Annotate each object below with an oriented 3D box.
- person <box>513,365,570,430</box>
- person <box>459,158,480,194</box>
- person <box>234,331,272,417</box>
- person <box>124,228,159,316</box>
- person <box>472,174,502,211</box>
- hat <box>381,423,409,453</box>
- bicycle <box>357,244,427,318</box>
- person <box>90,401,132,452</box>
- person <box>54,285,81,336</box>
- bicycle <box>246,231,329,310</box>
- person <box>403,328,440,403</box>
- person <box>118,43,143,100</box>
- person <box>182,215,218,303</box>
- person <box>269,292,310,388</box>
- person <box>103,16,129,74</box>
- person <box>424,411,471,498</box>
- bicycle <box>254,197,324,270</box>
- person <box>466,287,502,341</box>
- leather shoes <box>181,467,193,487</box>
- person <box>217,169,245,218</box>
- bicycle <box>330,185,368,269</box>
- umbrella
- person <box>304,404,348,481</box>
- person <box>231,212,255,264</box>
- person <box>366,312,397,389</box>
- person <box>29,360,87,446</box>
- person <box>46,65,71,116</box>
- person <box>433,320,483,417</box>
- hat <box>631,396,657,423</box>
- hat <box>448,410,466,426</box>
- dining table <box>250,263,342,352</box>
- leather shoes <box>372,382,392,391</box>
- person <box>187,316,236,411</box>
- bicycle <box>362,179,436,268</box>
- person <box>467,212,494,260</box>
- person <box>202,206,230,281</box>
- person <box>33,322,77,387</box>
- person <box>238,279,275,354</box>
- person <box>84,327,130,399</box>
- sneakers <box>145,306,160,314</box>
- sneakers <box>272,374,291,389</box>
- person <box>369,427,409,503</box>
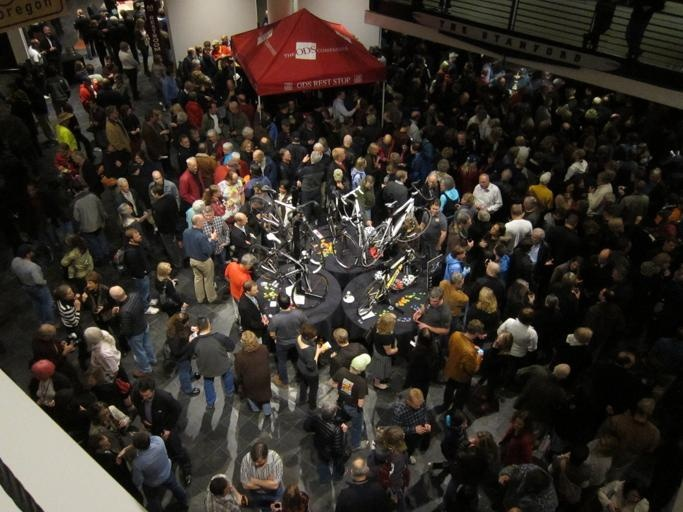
[{"bbox_3d":[2.767,2.080,7.672,0.626,0.970,0.439,14,32,25],"label":"person"},{"bbox_3d":[2.481,-1.520,10.673,0.389,0.963,0.318,34,83,17],"label":"person"},{"bbox_3d":[-1.288,1.697,8.070,0.504,1.415,0.492,-10,32,-12],"label":"person"},{"bbox_3d":[-3.452,0.335,9.469,0.478,1.438,0.491,-26,79,-29],"label":"person"},{"bbox_3d":[2.679,-1.064,9.982,0.554,0.735,0.506,5,29,10],"label":"person"},{"bbox_3d":[0.674,2.276,6.937,0.265,0.326,0.315,-2,-1,-2],"label":"hat"},{"bbox_3d":[0.788,0.453,8.875,0.316,0.539,1.086,33,68,32],"label":"bicycle"},{"bbox_3d":[-3.021,2.254,7.186,0.274,0.762,0.475,-3,79,-3],"label":"person"},{"bbox_3d":[-4.358,0.903,8.804,0.251,0.853,0.288,-33,85,-29],"label":"person"},{"bbox_3d":[-0.892,0.233,9.040,1.539,0.946,0.358,24,33,12],"label":"bicycle"},{"bbox_3d":[1.148,1.552,7.852,0.410,1.248,0.314,0,29,2],"label":"person"},{"bbox_3d":[-5.824,-5.133,15.296,0.453,1.507,0.504,-27,43,-30],"label":"person"},{"bbox_3d":[-2.455,0.037,9.716,0.493,1.782,0.506,0,29,1],"label":"person"},{"bbox_3d":[-0.807,1.290,8.496,0.655,1.620,0.500,-10,30,-14],"label":"person"},{"bbox_3d":[-6.747,-6.327,16.348,0.676,1.808,0.583,3,52,-25],"label":"person"},{"bbox_3d":[1.523,2.664,7.218,0.481,1.214,0.326,-3,11,22],"label":"person"},{"bbox_3d":[-0.915,-0.420,9.345,0.783,0.935,1.568,-23,46,-24],"label":"bicycle"},{"bbox_3d":[2.219,1.128,8.452,0.405,1.392,0.405,6,31,20],"label":"person"},{"bbox_3d":[-2.167,3.111,7.720,0.106,0.132,0.335,-9,72,-6],"label":"leather shoes"},{"bbox_3d":[-2.033,-1.109,10.145,0.309,0.935,0.317,30,72,-3],"label":"person"},{"bbox_3d":[0.122,-0.530,9.555,0.698,0.840,1.373,-6,46,-12],"label":"bicycle"},{"bbox_3d":[-0.851,-4.650,12.135,3.486,1.449,3.291,1,43,-2],"label":"umbrella"},{"bbox_3d":[-0.197,2.435,7.534,0.602,1.453,0.788,-1,29,0],"label":"person"},{"bbox_3d":[-1.665,-0.312,9.440,0.271,0.834,0.285,9,70,-7],"label":"person"},{"bbox_3d":[0.629,1.450,8.351,0.458,1.539,0.574,1,29,3],"label":"person"},{"bbox_3d":[-3.527,1.851,6.857,0.647,1.129,0.476,-12,62,-30],"label":"person"},{"bbox_3d":[-7.116,-3.987,13.901,0.549,1.581,0.447,-5,43,-17],"label":"person"},{"bbox_3d":[1.782,1.680,8.099,0.521,1.654,0.630,-10,32,-26],"label":"person"},{"bbox_3d":[3.854,1.972,6.991,0.240,0.398,0.242,11,31,21],"label":"hat"},{"bbox_3d":[1.482,2.113,7.077,0.206,0.166,0.225,4,78,10],"label":"hat"},{"bbox_3d":[-0.604,0.790,9.188,1.602,0.610,1.627,13,40,17],"label":"dining table"},{"bbox_3d":[0.631,2.077,8.708,0.247,0.100,0.087,4,75,10],"label":"leather shoes"},{"bbox_3d":[-1.929,1.543,8.334,0.608,1.619,0.678,-9,30,-15],"label":"person"},{"bbox_3d":[0.972,-0.547,9.542,0.861,1.061,1.810,13,48,36],"label":"bicycle"},{"bbox_3d":[2.315,-0.151,9.404,0.344,0.301,1.164,40,45,-24],"label":"person"},{"bbox_3d":[-2.296,-0.147,10.068,0.520,1.575,0.486,-5,34,-6],"label":"person"},{"bbox_3d":[-4.063,1.435,7.837,0.464,0.793,0.343,-33,82,-37],"label":"person"},{"bbox_3d":[-1.285,0.931,8.398,0.370,1.170,0.391,0,64,-1],"label":"person"},{"bbox_3d":[-3.442,1.602,8.054,0.388,1.070,0.420,-1,63,-21],"label":"person"},{"bbox_3d":[-3.374,0.983,9.855,0.223,0.096,0.098,-2,59,-1],"label":"sneakers"},{"bbox_3d":[-0.954,2.029,8.769,0.140,0.128,0.309,-41,80,-13],"label":"sneakers"},{"bbox_3d":[0.628,2.727,7.096,0.354,1.087,0.469,21,66,15],"label":"person"}]
